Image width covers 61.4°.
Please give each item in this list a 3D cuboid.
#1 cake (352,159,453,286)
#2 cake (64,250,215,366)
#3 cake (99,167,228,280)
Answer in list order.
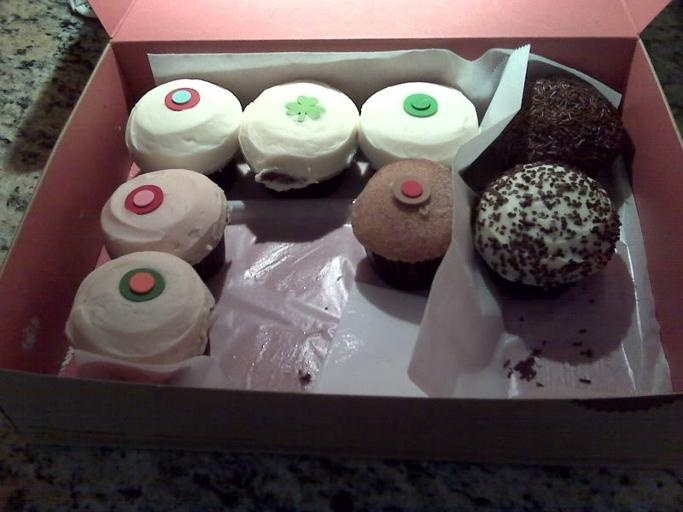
[{"bbox_3d":[0.170,-0.100,1.612,0.268,0.202,0.321,4,64,8],"label":"cake"},{"bbox_3d":[-0.495,0.122,1.400,0.323,0.094,0.282,8,64,1],"label":"cake"},{"bbox_3d":[-0.493,-0.045,1.630,0.281,0.220,0.285,15,53,7],"label":"cake"}]
